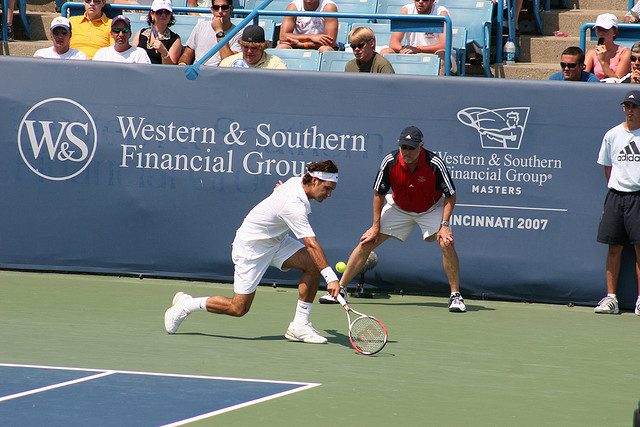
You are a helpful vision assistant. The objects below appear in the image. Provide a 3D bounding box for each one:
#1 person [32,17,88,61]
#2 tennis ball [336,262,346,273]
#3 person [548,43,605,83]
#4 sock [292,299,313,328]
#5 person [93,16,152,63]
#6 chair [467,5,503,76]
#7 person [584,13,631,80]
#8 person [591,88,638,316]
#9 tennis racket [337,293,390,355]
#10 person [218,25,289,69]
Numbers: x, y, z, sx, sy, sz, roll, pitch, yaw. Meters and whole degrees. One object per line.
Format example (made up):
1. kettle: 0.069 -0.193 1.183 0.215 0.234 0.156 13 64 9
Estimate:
1. person: -3.935 -2.637 13.194 0.766 0.647 0.492 1 -5 -3
2. tennis ball: 0.277 0.725 11.507 0.087 0.091 0.105 -27 -43 26
3. person: 3.566 -1.995 12.158 0.480 0.624 1.077 -17 23 -40
4. sock: -0.221 1.217 10.426 0.212 0.331 0.126 1 8 0
5. person: -3.009 -2.650 13.216 0.839 0.674 0.524 0 8 -8
6. chair: 2.800 -3.009 14.818 0.475 1.406 0.512 1 -3 4
7. person: 4.175 -2.360 12.605 0.484 1.158 0.445 0 -10 0
8. person: 4.059 0.028 11.483 0.887 2.629 0.735 -1 -3 7
9. tennis racket: 0.607 1.327 10.077 0.719 0.681 0.434 -3 9 -30
10. person: -0.963 -2.417 12.639 0.911 0.592 0.491 2 8 5
